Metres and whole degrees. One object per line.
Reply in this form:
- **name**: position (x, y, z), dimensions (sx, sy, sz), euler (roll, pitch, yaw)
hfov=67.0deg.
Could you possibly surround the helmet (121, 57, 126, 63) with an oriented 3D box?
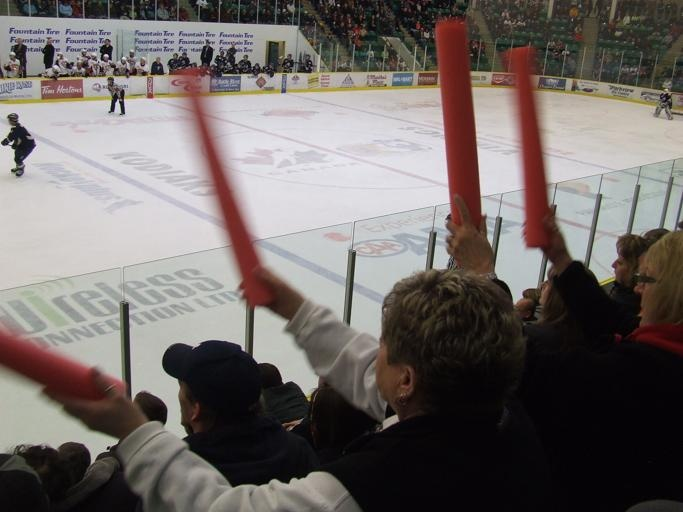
- **helmet**: position (-8.976, -8.054, 21.335), dimensions (0.234, 0.267, 0.294), euler (-10, 8, -20)

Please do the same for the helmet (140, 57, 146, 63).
- **helmet**: position (-8.410, -8.244, 21.833), dimensions (0.162, 0.204, 0.192), euler (-1, 35, -6)

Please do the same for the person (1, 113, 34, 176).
- **person**: position (-7.459, -2.562, 11.885), dimensions (0.665, 1.575, 1.445), euler (-12, 9, -30)
